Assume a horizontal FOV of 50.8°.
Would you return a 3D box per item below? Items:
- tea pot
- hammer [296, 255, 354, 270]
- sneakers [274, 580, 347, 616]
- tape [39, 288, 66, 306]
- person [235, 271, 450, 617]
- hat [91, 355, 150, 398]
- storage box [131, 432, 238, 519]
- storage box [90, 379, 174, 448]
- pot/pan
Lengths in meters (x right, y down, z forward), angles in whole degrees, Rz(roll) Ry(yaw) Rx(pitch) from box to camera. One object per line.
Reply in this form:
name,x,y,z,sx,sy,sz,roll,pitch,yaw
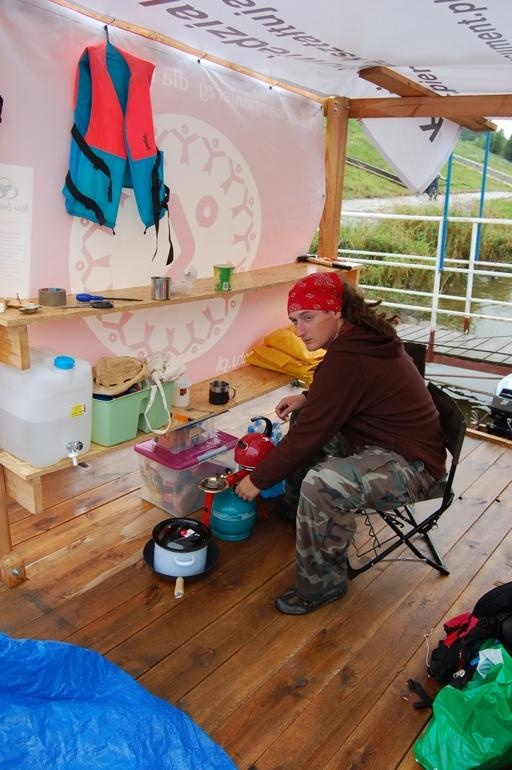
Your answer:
tea pot,-0.013,0.287,2.311,0.213,0.270,0.241,-1,18,-21
hammer,0.459,-0.824,3.627,0.283,0.058,0.162,18,23,25
sneakers,0.202,0.788,2.009,0.249,0.101,0.097,-4,16,-27
tape,-0.755,-0.326,1.976,0.076,0.043,0.074,-6,15,-28
person,0.335,0.204,2.019,0.637,1.198,0.532,-7,19,-39
hat,-0.544,-0.046,2.075,0.161,0.153,0.208,20,21,40
storage box,-0.320,0.403,2.602,0.343,0.282,0.453,17,23,36
storage box,-0.487,0.111,2.078,0.272,0.237,0.201,-4,22,-36
pot/pan,-0.287,0.624,2.058,0.293,0.244,0.334,-6,21,-29
